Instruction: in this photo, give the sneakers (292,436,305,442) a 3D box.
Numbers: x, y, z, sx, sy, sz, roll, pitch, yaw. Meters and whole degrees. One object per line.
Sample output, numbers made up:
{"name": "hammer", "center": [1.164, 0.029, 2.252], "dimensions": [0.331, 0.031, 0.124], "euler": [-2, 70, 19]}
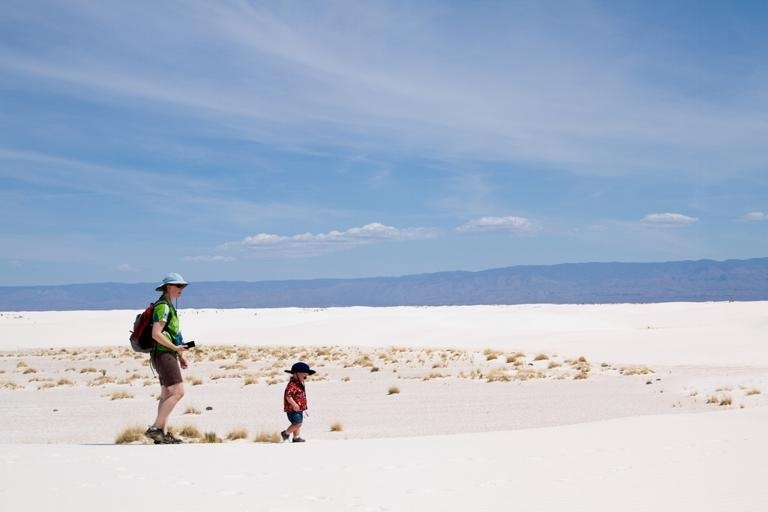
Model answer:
{"name": "sneakers", "center": [-1.726, 3.594, 14.700], "dimensions": [0.290, 0.098, 0.090], "euler": [1, -2, 1]}
